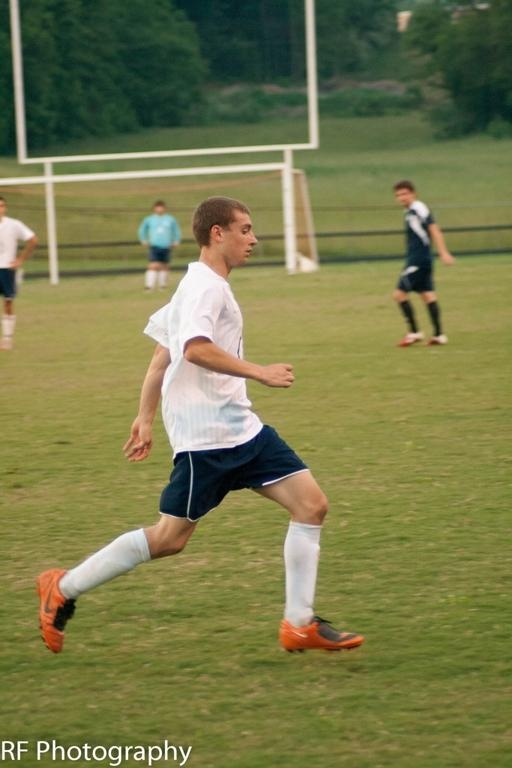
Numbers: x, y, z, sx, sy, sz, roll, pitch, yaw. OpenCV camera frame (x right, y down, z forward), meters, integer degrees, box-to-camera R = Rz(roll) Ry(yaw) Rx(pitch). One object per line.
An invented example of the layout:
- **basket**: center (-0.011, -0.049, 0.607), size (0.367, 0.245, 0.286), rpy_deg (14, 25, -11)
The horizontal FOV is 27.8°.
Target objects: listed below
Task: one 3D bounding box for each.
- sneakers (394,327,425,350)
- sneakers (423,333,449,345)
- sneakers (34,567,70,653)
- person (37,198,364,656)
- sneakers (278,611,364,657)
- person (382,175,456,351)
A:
- **sneakers**: center (1.425, -0.415, 9.585), size (0.313, 0.103, 0.126), rpy_deg (-19, 53, -36)
- **sneakers**: center (1.653, -0.409, 9.542), size (0.145, 0.126, 0.346), rpy_deg (1, 6, 4)
- **sneakers**: center (-0.615, 0.685, 3.117), size (0.148, 0.233, 0.098), rpy_deg (-3, 2, 9)
- **person**: center (-0.195, 0.145, 3.163), size (0.955, 1.404, 0.463), rpy_deg (-3, 15, 0)
- **sneakers**: center (0.181, 0.781, 3.167), size (0.310, 0.102, 0.096), rpy_deg (0, -13, 0)
- **person**: center (1.526, -1.115, 9.541), size (0.522, 1.502, 0.793), rpy_deg (-2, 14, 7)
